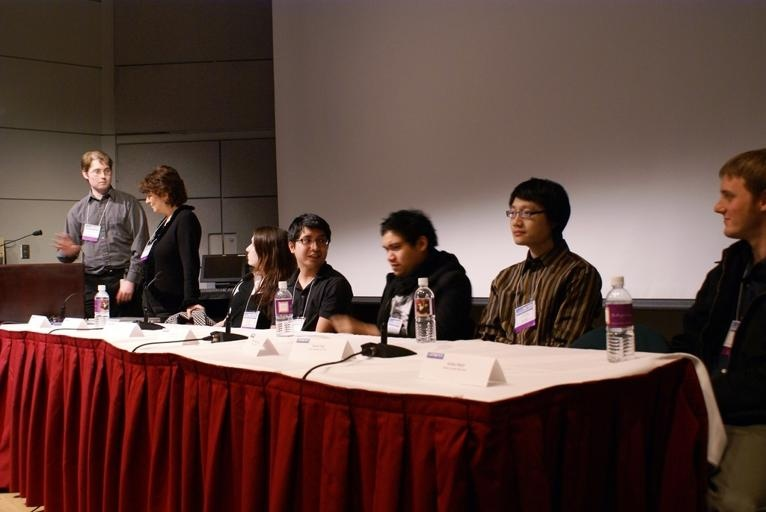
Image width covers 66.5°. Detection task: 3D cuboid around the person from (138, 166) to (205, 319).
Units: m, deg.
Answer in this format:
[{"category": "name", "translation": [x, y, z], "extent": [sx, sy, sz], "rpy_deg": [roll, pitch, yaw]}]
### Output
[{"category": "person", "translation": [-1.623, -0.126, 4.453], "extent": [0.458, 1.114, 0.623], "rpy_deg": [-7, 10, -23]}]

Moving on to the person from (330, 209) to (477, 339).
[{"category": "person", "translation": [0.147, 0.153, 3.633], "extent": [0.720, 1.089, 0.720], "rpy_deg": [3, -8, -29]}]
